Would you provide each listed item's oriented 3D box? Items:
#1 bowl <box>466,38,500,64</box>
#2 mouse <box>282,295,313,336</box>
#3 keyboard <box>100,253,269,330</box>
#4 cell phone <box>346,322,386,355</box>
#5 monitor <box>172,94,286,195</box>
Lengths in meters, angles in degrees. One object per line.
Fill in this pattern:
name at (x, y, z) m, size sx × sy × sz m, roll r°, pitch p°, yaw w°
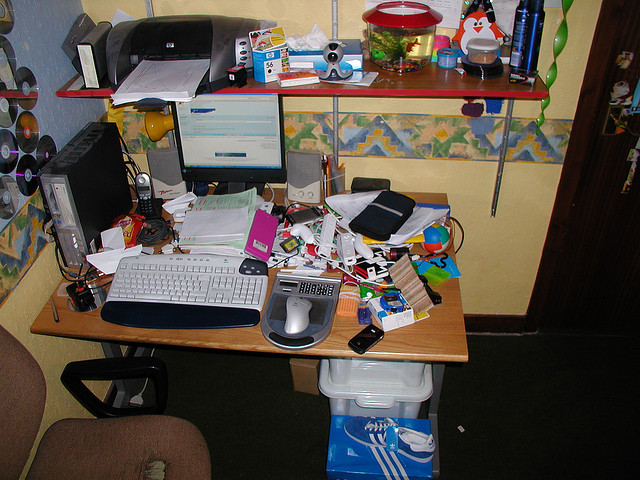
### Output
bowl at (0.642, -0.750, 1.945) m, size 0.109 × 0.082 × 0.113 m, roll -1°, pitch 32°, yaw 0°
mouse at (-0.088, 0.267, 1.843) m, size 0.130 × 0.054 × 0.204 m, roll 13°, pitch 44°, yaw -14°
keyboard at (-0.524, 0.201, 1.922) m, size 0.615 × 0.144 × 0.305 m, roll 1°, pitch 32°, yaw 3°
cell phone at (0.170, 0.361, 1.787) m, size 0.074 × 0.025 × 0.128 m, roll 30°, pitch 54°, yaw 32°
monitor at (-0.400, -0.448, 2.305) m, size 0.501 × 0.470 × 0.246 m, roll 2°, pitch 19°, yaw 8°
